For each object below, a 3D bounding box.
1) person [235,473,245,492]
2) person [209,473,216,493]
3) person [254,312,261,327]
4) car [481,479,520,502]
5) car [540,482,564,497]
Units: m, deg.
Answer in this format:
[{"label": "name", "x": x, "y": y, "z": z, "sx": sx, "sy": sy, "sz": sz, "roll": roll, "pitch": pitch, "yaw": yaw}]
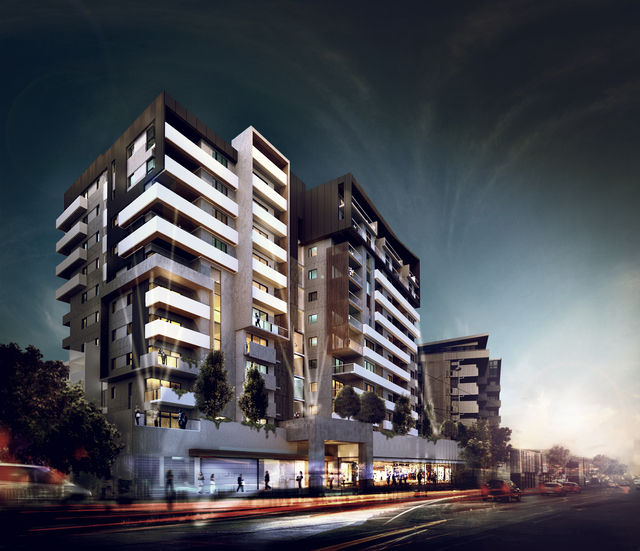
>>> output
[{"label": "person", "x": -6.826, "y": 17.582, "z": 56.979, "sx": 0.655, "sy": 1.544, "sz": 2.185, "roll": 1, "pitch": -21, "yaw": -4}, {"label": "person", "x": -8.677, "y": 16.621, "z": 53.949, "sx": 0.548, "sy": 1.468, "sz": 2.450, "roll": 3, "pitch": -21, "yaw": -8}, {"label": "person", "x": -6.467, "y": 4.521, "z": 68.464, "sx": 0.552, "sy": 2.033, "sz": 0.569, "roll": -1, "pitch": -23, "yaw": 9}, {"label": "car", "x": 14.945, "y": 17.563, "z": 54.922, "sx": 1.627, "sy": 1.386, "sz": 3.707, "roll": -5, "pitch": -11, "yaw": 34}, {"label": "car", "x": 24.215, "y": 22.535, "z": 69.556, "sx": 1.581, "sy": 0.923, "sz": 3.043, "roll": -6, "pitch": -11, "yaw": 34}]
